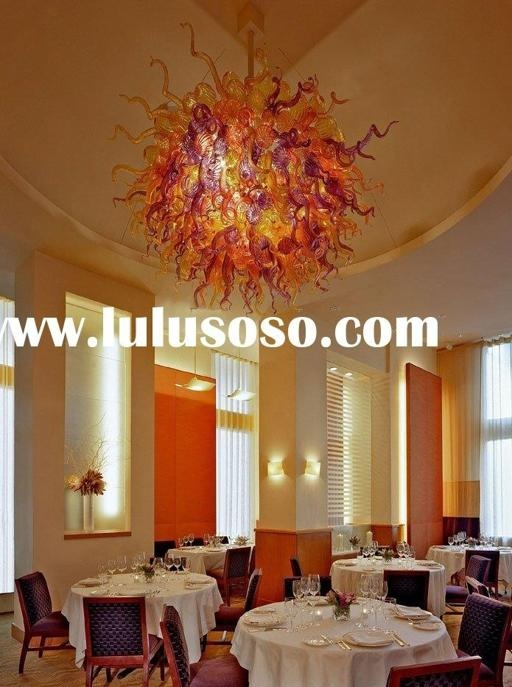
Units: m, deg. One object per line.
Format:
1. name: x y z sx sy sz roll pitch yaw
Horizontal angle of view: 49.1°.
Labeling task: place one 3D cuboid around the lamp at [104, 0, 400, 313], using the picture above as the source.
1. lamp: -0.063 -1.226 3.485 1.303 2.076 1.823 0 -9 -2

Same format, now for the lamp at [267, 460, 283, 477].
1. lamp: 0.247 1.722 7.716 0.302 0.230 0.077 -9 -11 41

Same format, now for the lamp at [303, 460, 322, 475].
1. lamp: 0.756 1.715 7.689 0.212 0.258 0.050 9 -8 -42

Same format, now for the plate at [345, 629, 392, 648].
1. plate: 0.596 1.567 2.974 0.260 0.036 0.318 -2 -10 6

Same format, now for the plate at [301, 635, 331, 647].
1. plate: 0.319 1.560 2.916 0.149 0.017 0.186 1 -10 -10

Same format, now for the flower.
1. flower: -1.903 1.294 6.406 0.275 0.817 0.512 -4 -5 28

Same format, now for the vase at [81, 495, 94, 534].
1. vase: -1.888 1.912 6.292 0.150 0.410 0.262 2 -9 -19

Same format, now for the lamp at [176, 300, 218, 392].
1. lamp: -1.012 0.339 9.618 0.624 1.042 2.219 0 -10 -5
